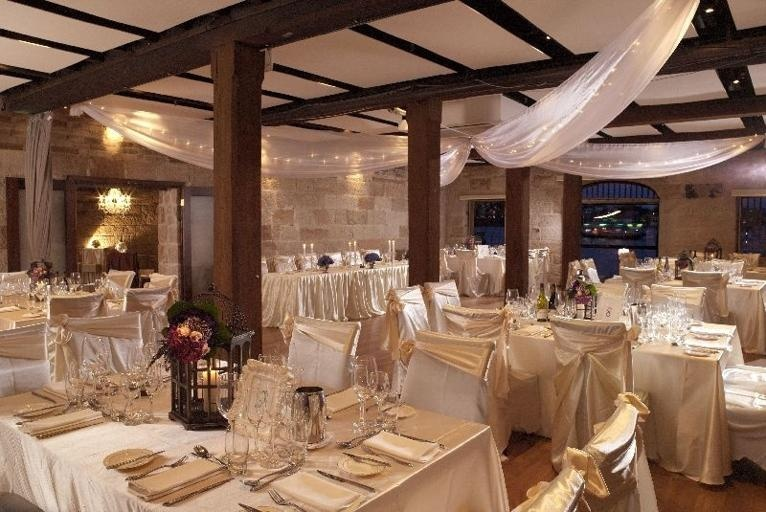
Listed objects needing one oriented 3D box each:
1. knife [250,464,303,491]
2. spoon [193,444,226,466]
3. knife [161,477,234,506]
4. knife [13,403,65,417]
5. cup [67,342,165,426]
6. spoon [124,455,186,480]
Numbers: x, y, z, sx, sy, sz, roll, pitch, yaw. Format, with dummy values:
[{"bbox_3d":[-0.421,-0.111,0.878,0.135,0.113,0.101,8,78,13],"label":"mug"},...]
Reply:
[{"bbox_3d":[-0.564,1.170,2.896,0.056,0.045,0.330,10,9,36],"label":"knife"},{"bbox_3d":[-0.969,1.103,3.038,0.076,0.046,0.379,-6,10,-34],"label":"spoon"},{"bbox_3d":[-0.964,1.203,2.808,0.096,0.037,0.300,19,22,40],"label":"knife"},{"bbox_3d":[-2.135,0.956,3.419,0.177,0.037,0.105,5,1,-21],"label":"knife"},{"bbox_3d":[-1.660,0.749,3.539,0.419,0.230,0.544,4,12,5],"label":"cup"},{"bbox_3d":[-1.232,1.134,2.938,0.270,0.033,0.039,-9,25,-34],"label":"spoon"}]
